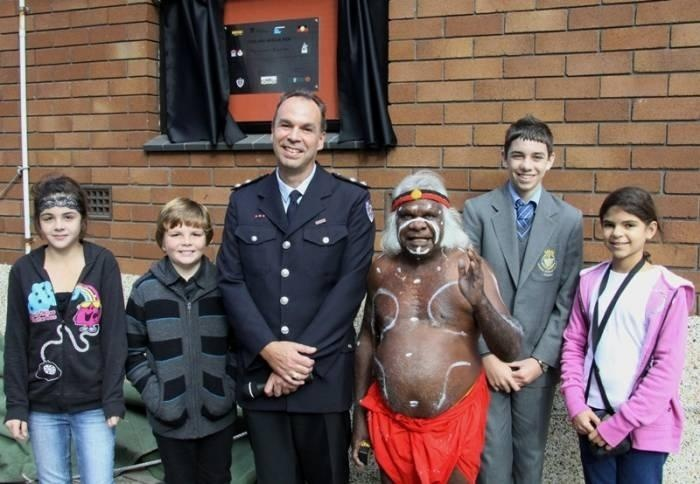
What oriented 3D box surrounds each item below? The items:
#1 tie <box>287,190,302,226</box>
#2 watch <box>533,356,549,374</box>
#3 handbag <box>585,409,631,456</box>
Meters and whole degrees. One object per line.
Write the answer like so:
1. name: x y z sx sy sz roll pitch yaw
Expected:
1. tie: -0.359 -0.232 4.661 0.062 0.250 0.070 3 -24 12
2. watch: 1.220 0.779 4.769 0.110 0.069 0.105 42 -9 -2
3. handbag: 1.546 1.133 4.430 0.184 0.252 0.129 -28 -2 -3
